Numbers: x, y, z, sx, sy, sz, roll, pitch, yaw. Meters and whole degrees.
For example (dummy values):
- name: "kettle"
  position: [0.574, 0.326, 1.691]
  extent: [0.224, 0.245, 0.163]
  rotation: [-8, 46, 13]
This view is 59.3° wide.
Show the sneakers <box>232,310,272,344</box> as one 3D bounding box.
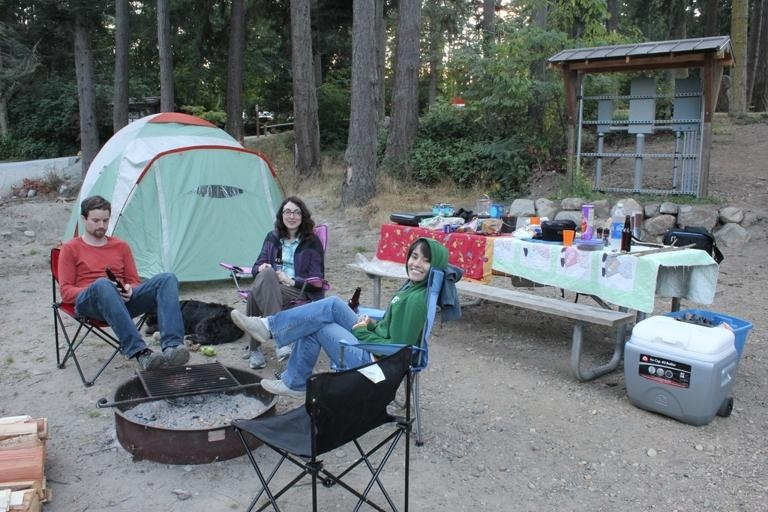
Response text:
- name: "sneakers"
  position: [-1.308, 0.706, 6.339]
  extent: [0.204, 0.289, 0.593]
  rotation: [-1, -11, -13]

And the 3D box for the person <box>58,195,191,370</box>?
- name: "person"
  position: [-2.647, 0.230, 6.803]
  extent: [1.453, 1.603, 0.836]
  rotation: [10, 15, 42]

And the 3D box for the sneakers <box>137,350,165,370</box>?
- name: "sneakers"
  position: [-2.263, 1.019, 6.543]
  extent: [0.281, 0.163, 0.157]
  rotation: [6, 13, 30]

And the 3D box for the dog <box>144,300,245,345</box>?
- name: "dog"
  position: [-2.074, 0.790, 7.874]
  extent: [0.769, 0.341, 0.629]
  rotation: [6, 9, 19]

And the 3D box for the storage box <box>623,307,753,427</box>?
- name: "storage box"
  position: [3.001, 1.077, 6.578]
  extent: [0.806, 0.824, 1.128]
  rotation: [3, 5, 43]

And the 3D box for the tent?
- name: "tent"
  position: [-3.102, -0.891, 9.925]
  extent: [2.440, 1.929, 2.658]
  rotation: [16, 18, 42]

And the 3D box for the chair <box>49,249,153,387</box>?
- name: "chair"
  position: [-3.212, 0.625, 7.364]
  extent: [0.819, 1.186, 0.843]
  rotation: [9, 3, -2]

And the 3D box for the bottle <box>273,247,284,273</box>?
- name: "bottle"
  position: [-1.152, 0.053, 7.438]
  extent: [0.105, 0.205, 0.070]
  rotation: [3, -2, -6]

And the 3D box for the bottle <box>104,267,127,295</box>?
- name: "bottle"
  position: [-2.709, 0.261, 6.818]
  extent: [0.167, 0.273, 0.277]
  rotation: [-6, 12, -24]

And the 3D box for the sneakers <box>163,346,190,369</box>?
- name: "sneakers"
  position: [-2.002, 0.989, 6.558]
  extent: [0.320, 0.143, 0.150]
  rotation: [-10, 0, 37]

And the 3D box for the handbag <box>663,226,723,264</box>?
- name: "handbag"
  position: [3.383, -0.023, 7.206]
  extent: [0.306, 0.438, 0.446]
  rotation: [-5, -17, -47]

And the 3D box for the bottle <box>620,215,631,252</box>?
- name: "bottle"
  position: [2.495, -0.226, 6.874]
  extent: [0.097, 0.323, 0.404]
  rotation: [4, 12, 21]
